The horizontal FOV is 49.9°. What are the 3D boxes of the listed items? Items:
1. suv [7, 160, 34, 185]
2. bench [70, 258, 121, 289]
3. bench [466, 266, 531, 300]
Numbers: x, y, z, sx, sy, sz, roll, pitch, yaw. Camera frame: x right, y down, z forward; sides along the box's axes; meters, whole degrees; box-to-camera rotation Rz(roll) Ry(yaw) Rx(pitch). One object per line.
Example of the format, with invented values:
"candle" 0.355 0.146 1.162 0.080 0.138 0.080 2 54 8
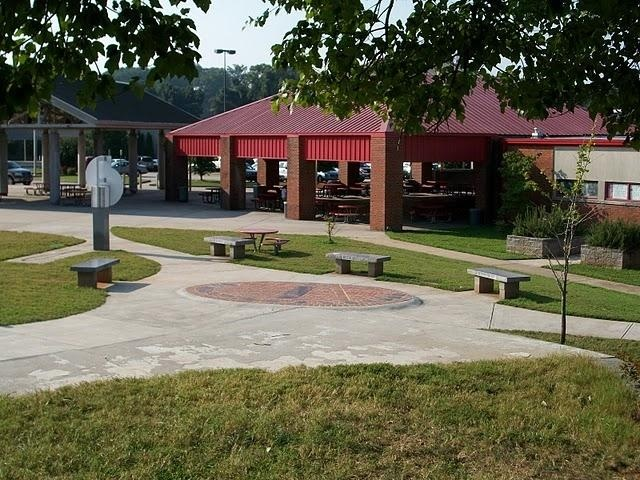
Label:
"suv" -25.702 -5.628 58.265 2.314 1.748 4.442 -3 4 -44
"bench" -5.228 0.776 15.953 0.591 0.575 1.144 1 3 5
"bench" 4.195 1.030 16.304 0.799 0.597 1.462 0 3 -17
